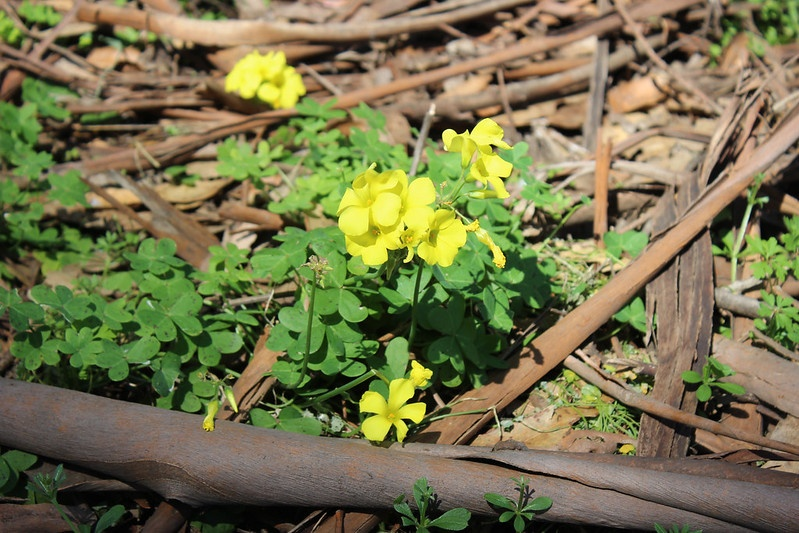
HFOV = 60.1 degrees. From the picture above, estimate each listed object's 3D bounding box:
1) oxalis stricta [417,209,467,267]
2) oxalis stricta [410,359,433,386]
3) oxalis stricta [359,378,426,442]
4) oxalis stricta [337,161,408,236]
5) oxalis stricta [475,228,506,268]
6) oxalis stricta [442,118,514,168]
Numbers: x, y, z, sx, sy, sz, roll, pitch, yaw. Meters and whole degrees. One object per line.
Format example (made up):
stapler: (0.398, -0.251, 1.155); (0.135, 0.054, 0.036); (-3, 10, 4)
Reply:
oxalis stricta: (0.215, -0.179, 4.086); (0.328, 0.313, 0.165); (-6, 22, -31)
oxalis stricta: (0.116, 0.661, 4.329); (0.164, 0.150, 0.070); (12, 13, 19)
oxalis stricta: (-0.058, 0.886, 4.258); (0.427, 0.163, 0.401); (-25, 78, -10)
oxalis stricta: (-0.154, -0.369, 4.011); (0.170, 0.422, 0.393); (36, 10, -48)
oxalis stricta: (0.616, -0.118, 4.715); (0.100, 0.085, 0.285); (-12, 61, -38)
oxalis stricta: (0.439, -0.741, 4.326); (0.575, 0.281, 0.454); (-2, 6, -33)
